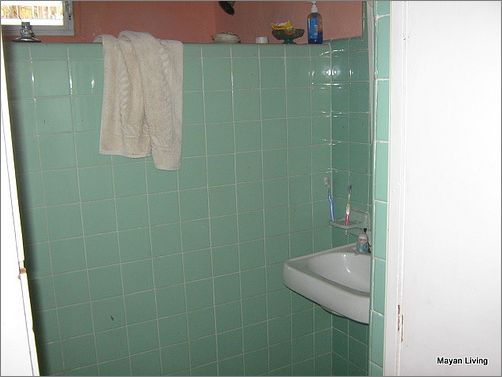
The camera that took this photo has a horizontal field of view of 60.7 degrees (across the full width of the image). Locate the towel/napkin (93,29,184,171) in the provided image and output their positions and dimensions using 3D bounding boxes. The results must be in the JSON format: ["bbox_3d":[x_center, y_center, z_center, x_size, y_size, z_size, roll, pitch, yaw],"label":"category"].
[{"bbox_3d":[-0.495,-0.367,1.927,0.412,0.603,0.198,0,6,-11],"label":"towel/napkin"}]

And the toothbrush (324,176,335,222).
[{"bbox_3d":[0.456,0.058,2.461,0.037,0.349,0.028,-9,5,-35],"label":"toothbrush"}]

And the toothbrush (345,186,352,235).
[{"bbox_3d":[0.531,0.120,2.332,0.030,0.285,0.024,2,-5,23],"label":"toothbrush"}]

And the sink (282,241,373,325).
[{"bbox_3d":[0.426,0.452,2.142,0.344,0.137,0.371,-6,13,-32],"label":"sink"}]
